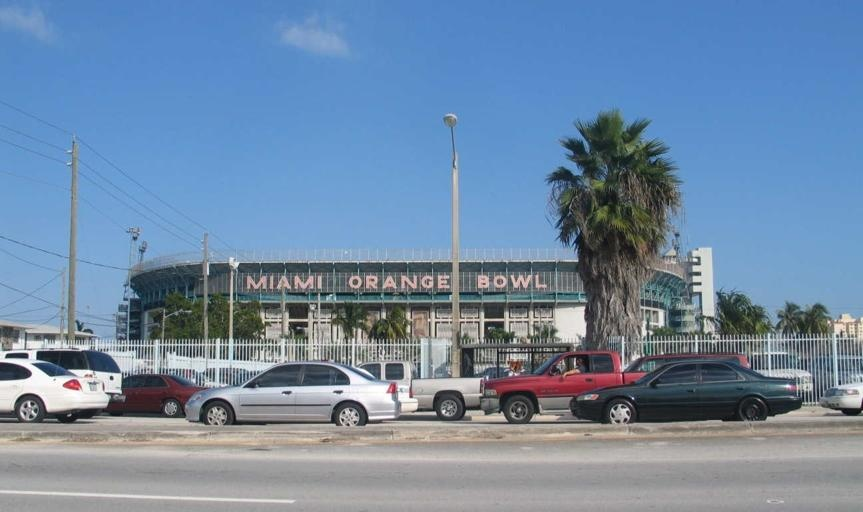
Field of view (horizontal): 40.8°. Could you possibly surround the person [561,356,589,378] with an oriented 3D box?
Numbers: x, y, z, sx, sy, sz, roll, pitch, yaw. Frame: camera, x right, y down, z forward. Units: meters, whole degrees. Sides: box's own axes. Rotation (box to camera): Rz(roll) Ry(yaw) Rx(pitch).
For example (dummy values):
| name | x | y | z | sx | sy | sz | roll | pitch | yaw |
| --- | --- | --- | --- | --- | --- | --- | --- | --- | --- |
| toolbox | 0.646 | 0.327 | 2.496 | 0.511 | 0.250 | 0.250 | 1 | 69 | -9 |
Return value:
| name | x | y | z | sx | sy | sz | roll | pitch | yaw |
| --- | --- | --- | --- | --- | --- | --- | --- | --- | --- |
| person | 5.095 | 3.814 | 40.723 | 0.799 | 0.455 | 0.643 | -8 | -9 | 4 |
